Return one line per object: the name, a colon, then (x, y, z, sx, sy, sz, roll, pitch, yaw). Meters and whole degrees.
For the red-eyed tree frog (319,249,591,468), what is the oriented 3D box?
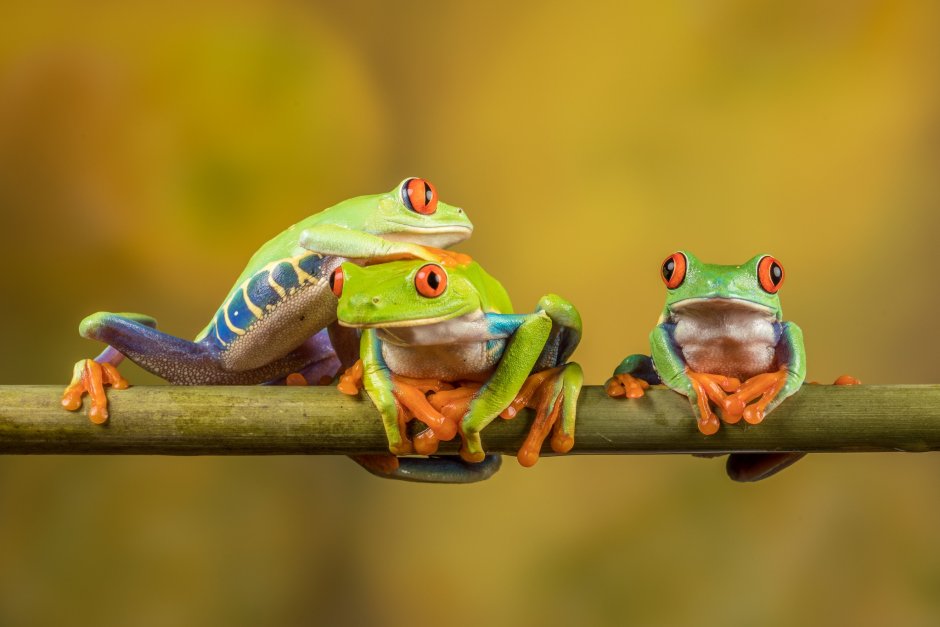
red-eyed tree frog: (-0.068, 0.105, 3.302, 0.791, 0.642, 0.817, -3, 8, -11)

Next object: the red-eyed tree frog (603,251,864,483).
red-eyed tree frog: (0.835, 0.085, 3.226, 0.892, 0.592, 0.901, -2, -10, 8)
